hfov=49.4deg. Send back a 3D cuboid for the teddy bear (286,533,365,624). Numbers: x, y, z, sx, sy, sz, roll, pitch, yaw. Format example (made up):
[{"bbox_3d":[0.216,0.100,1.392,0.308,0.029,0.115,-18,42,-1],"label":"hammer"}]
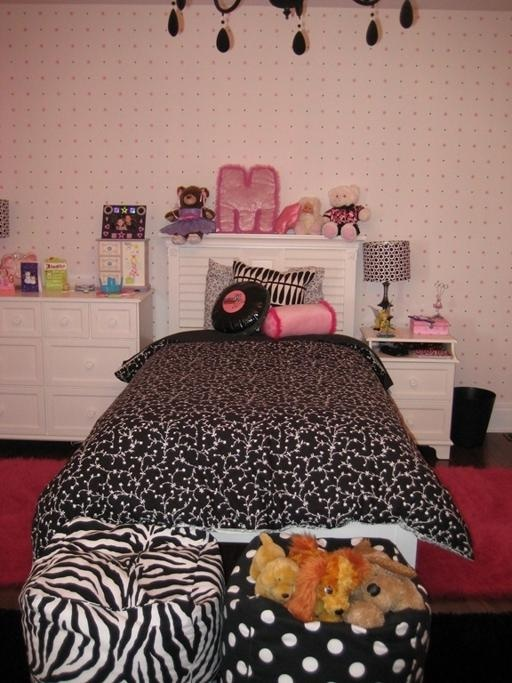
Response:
[{"bbox_3d":[0.135,0.469,1.132,0.114,0.077,0.140,-6,18,-24],"label":"teddy bear"}]

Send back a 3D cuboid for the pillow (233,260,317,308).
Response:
[{"bbox_3d":[0.084,-0.320,3.042,0.477,0.220,0.338,2,10,4],"label":"pillow"}]

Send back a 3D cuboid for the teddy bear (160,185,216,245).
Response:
[{"bbox_3d":[-0.395,-0.767,3.312,0.309,0.320,0.318,7,10,33],"label":"teddy bear"}]

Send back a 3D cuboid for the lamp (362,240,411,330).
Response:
[{"bbox_3d":[0.761,-0.334,3.316,0.266,0.541,0.388,3,10,10],"label":"lamp"}]

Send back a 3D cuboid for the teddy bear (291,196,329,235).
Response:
[{"bbox_3d":[0.315,-0.742,3.337,0.259,0.296,0.219,2,7,3],"label":"teddy bear"}]

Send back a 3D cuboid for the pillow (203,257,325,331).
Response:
[{"bbox_3d":[0.044,-0.313,2.989,0.599,0.405,0.166,-1,-14,10],"label":"pillow"}]

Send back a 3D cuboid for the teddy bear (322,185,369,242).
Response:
[{"bbox_3d":[0.530,-0.769,3.308,0.342,0.331,0.216,6,12,25],"label":"teddy bear"}]

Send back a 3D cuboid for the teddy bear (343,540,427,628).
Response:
[{"bbox_3d":[0.253,0.495,1.112,0.114,0.032,0.110,-1,24,-11],"label":"teddy bear"}]

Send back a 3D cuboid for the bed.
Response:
[{"bbox_3d":[-0.135,0.169,2.163,1.537,1.314,0.519,1,5,4],"label":"bed"}]

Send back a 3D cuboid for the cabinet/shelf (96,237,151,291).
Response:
[{"bbox_3d":[-0.799,-0.469,3.352,0.364,0.361,0.163,0,5,1],"label":"cabinet/shelf"}]

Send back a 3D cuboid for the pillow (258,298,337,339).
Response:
[{"bbox_3d":[0.223,-0.113,2.789,0.374,0.154,0.269,-2,10,-19],"label":"pillow"}]
